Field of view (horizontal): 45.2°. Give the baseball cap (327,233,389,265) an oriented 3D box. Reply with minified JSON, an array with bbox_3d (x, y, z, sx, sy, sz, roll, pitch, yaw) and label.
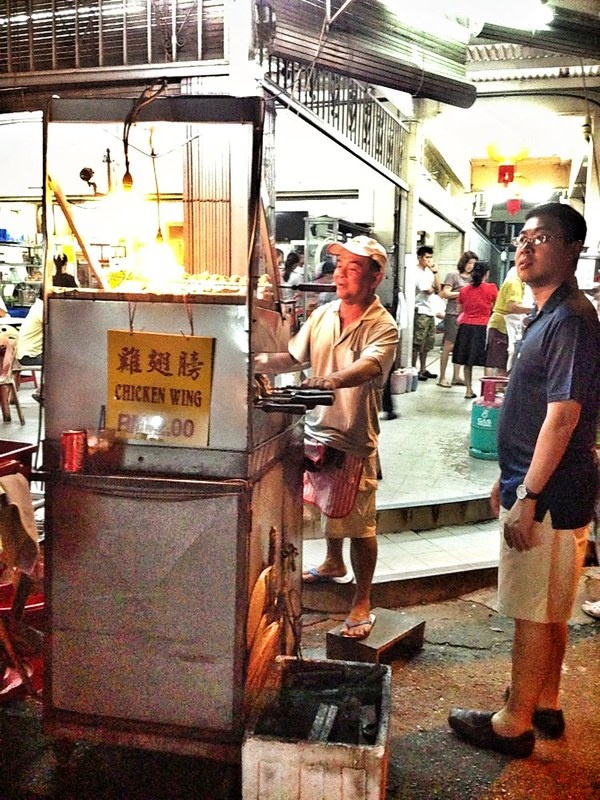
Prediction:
[{"bbox_3d":[0.287,-0.735,3.486,0.230,0.112,0.168,27,-1,-34],"label":"baseball cap"}]

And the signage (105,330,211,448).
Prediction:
[{"bbox_3d":[-0.487,-0.054,2.541,0.432,0.390,0.045,4,10,9],"label":"signage"}]

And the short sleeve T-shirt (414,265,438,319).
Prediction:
[{"bbox_3d":[2.159,-1.861,12.331,0.379,0.843,0.350,1,9,-10],"label":"short sleeve T-shirt"}]

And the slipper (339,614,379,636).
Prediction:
[{"bbox_3d":[0.315,1.170,3.733,0.143,0.059,0.305,-1,2,18],"label":"slipper"}]

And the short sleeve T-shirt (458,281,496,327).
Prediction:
[{"bbox_3d":[2.632,-1.405,10.669,0.754,0.685,0.372,6,19,12],"label":"short sleeve T-shirt"}]

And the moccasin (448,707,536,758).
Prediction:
[{"bbox_3d":[0.800,1.439,3.144,0.387,0.142,0.135,14,18,33],"label":"moccasin"}]

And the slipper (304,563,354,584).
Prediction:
[{"bbox_3d":[0.173,1.044,4.337,0.291,0.071,0.111,3,-3,-5],"label":"slipper"}]

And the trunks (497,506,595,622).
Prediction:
[{"bbox_3d":[1.028,0.623,3.152,0.445,0.611,0.495,3,3,20],"label":"trunks"}]

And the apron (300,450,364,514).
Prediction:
[{"bbox_3d":[0.172,0.404,3.634,0.036,0.333,0.358,-1,5,-43],"label":"apron"}]

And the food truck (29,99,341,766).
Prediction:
[{"bbox_3d":[-0.562,-0.046,3.376,1.362,2.649,2.189,3,8,2],"label":"food truck"}]

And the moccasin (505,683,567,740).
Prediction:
[{"bbox_3d":[1.114,1.448,3.391,0.139,0.149,0.395,-3,7,4],"label":"moccasin"}]
